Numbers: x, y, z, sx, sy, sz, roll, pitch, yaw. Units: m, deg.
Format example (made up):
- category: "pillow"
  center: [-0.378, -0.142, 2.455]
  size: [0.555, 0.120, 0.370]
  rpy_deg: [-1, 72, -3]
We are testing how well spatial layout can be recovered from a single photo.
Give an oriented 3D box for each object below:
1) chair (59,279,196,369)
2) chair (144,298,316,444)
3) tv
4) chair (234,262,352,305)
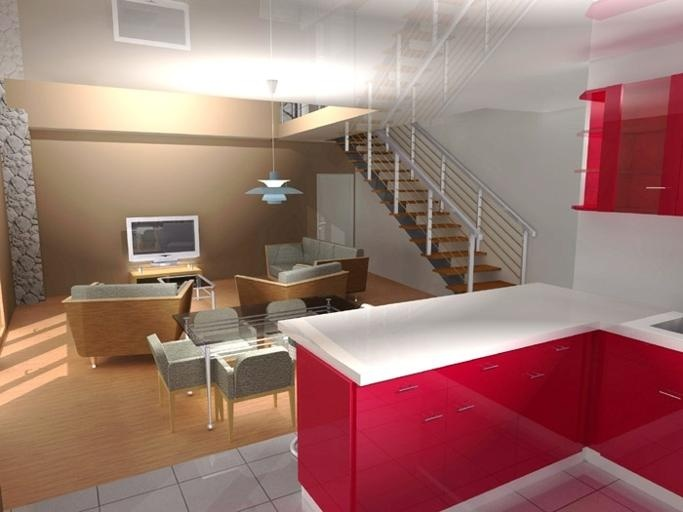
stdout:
- category: "chair"
  center: [-2.349, 0.852, 5.773]
  size: [1.453, 0.955, 0.988]
  rpy_deg: [-2, 0, 13]
- category: "chair"
  center: [-1.049, 0.942, 4.527]
  size: [1.275, 0.894, 0.937]
  rpy_deg: [-14, 18, -42]
- category: "tv"
  center: [-3.302, -0.295, 8.819]
  size: [0.982, 0.637, 0.242]
  rpy_deg: [-4, 10, -24]
- category: "chair"
  center: [-0.764, 0.258, 6.784]
  size: [0.839, 0.800, 0.960]
  rpy_deg: [-1, 4, -26]
